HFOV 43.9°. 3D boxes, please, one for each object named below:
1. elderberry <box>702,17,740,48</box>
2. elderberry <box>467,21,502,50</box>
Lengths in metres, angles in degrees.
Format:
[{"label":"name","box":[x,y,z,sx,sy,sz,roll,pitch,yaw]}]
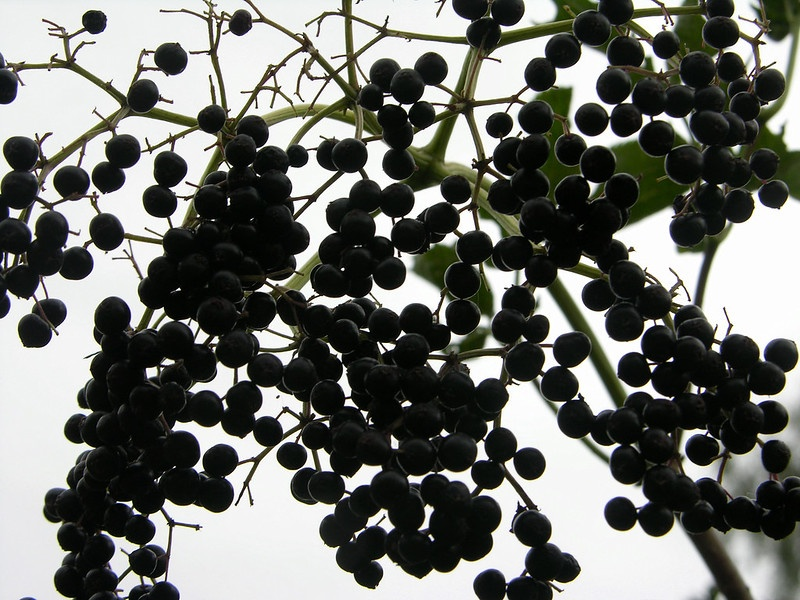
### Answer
[{"label":"elderberry","box":[0.652,-0.544,2.009,0.059,0.063,0.070,2,-82,1]},{"label":"elderberry","box":[0.167,-0.536,1.984,0.055,0.034,0.063,12,-58,-7]}]
